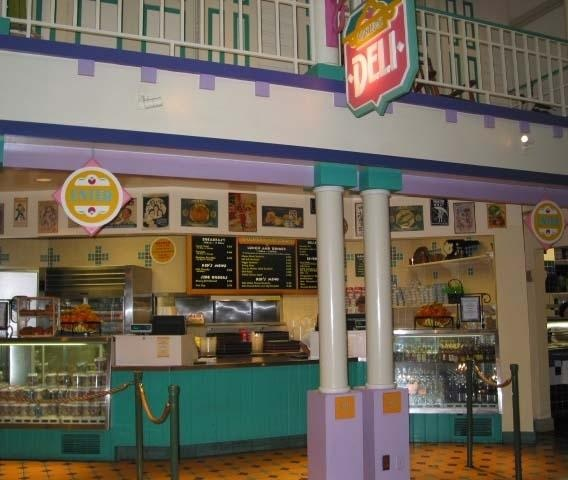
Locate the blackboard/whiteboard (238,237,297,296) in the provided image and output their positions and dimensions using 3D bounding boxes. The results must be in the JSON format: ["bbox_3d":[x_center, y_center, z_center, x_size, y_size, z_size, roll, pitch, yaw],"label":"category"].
[{"bbox_3d":[-0.283,0.367,8.763,0.771,0.740,0.107,0,-3,-22],"label":"blackboard/whiteboard"}]

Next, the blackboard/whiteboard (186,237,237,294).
[{"bbox_3d":[-1.077,0.356,8.438,0.721,0.918,0.109,1,-2,-28],"label":"blackboard/whiteboard"}]

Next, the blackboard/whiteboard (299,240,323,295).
[{"bbox_3d":[0.366,0.360,9.003,0.383,0.778,0.042,1,-1,-34],"label":"blackboard/whiteboard"}]

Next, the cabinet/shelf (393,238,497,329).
[{"bbox_3d":[2.271,0.537,8.426,0.781,1.352,1.920,2,-10,-29],"label":"cabinet/shelf"}]

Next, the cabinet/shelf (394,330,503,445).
[{"bbox_3d":[1.965,1.750,6.878,1.210,1.301,0.496,0,-6,2],"label":"cabinet/shelf"}]
